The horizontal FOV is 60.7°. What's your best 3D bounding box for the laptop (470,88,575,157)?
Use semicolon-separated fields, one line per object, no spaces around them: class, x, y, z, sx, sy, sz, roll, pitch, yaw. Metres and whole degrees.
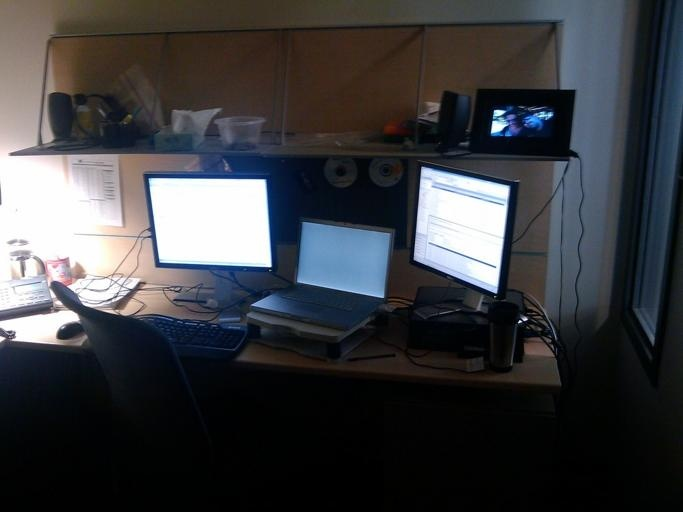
laptop;0.712;-0.563;2.293;0.412;0.264;0.213;-1;36;11

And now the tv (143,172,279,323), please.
tv;-0.569;-0.052;2.598;0.695;0.488;0.081;3;21;8

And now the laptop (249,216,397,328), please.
laptop;-0.087;0.062;2.379;0.503;0.289;0.452;9;20;36

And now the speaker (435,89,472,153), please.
speaker;0.464;-0.565;2.350;0.084;0.237;0.252;15;27;22

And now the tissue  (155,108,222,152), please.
tissue ;-0.641;-0.541;2.430;0.215;0.128;0.214;0;19;0

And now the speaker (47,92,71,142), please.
speaker;-1.228;-0.612;2.550;0.100;0.201;0.108;-9;19;-25

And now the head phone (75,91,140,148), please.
head phone;-1.028;-0.604;2.561;0.233;0.206;0.428;-12;21;-33

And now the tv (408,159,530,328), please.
tv;0.512;-0.063;2.331;0.563;0.638;0.219;19;28;42

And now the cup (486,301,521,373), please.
cup;0.603;0.297;2.185;0.108;0.244;0.126;7;19;21
